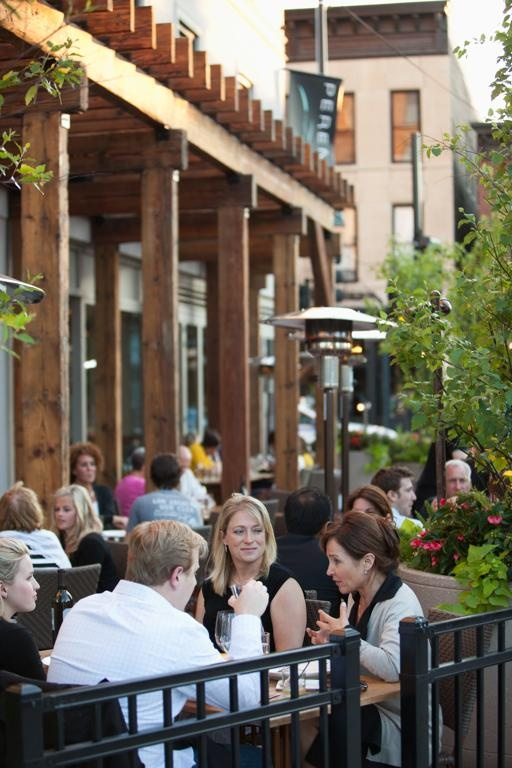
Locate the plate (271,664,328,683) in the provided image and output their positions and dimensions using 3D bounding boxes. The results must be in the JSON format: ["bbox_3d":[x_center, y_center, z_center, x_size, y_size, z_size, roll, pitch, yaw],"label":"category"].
[{"bbox_3d":[0.178,1.085,6.164,0.152,0.040,0.221,-5,-4,39],"label":"plate"}]
